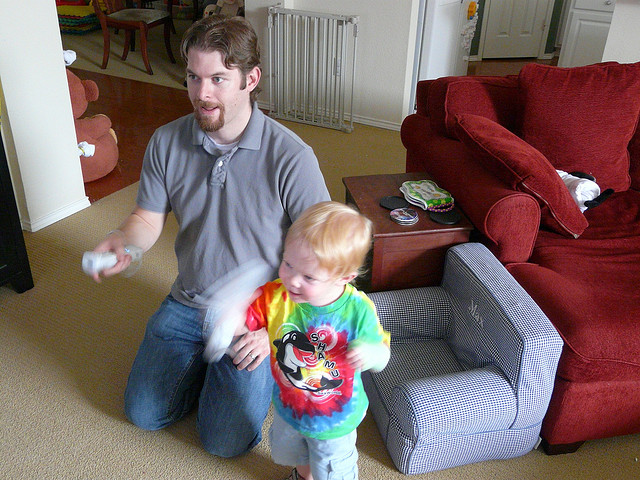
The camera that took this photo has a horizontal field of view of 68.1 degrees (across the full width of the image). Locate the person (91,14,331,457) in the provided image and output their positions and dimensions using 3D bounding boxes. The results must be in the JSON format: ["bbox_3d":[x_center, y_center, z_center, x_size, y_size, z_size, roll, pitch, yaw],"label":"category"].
[{"bbox_3d":[-0.402,0.009,1.852,0.885,1.598,0.770,4,23,-6],"label":"person"}]

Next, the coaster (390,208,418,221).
[{"bbox_3d":[0.380,-0.115,2.133,0.112,0.016,0.115,20,33,30],"label":"coaster"}]

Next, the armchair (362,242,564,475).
[{"bbox_3d":[0.546,0.532,2.146,0.770,0.849,0.883,-4,43,-11],"label":"armchair"}]

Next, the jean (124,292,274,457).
[{"bbox_3d":[-0.488,0.435,1.821,0.585,0.795,0.327,14,29,24],"label":"jean"}]

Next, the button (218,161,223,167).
[{"bbox_3d":[-0.364,-0.282,1.748,0.014,0.016,0.004,-8,4,-1],"label":"button"}]

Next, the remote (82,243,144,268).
[{"bbox_3d":[-0.724,0.062,1.673,0.180,0.065,0.063,-11,16,-38],"label":"remote"}]

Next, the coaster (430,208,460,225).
[{"bbox_3d":[0.565,-0.103,2.137,0.136,0.027,0.103,-5,29,-13],"label":"coaster"}]
